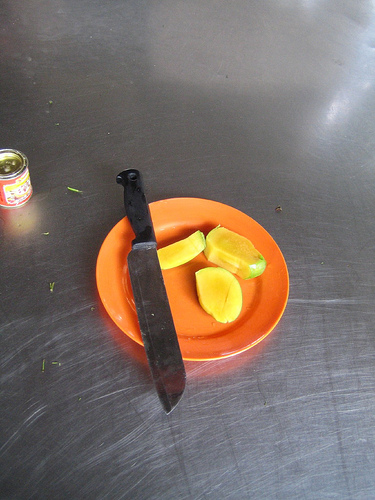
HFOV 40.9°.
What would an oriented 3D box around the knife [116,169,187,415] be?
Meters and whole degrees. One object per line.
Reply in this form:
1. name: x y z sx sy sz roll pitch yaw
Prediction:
1. knife: -0.085 0.056 1.041 0.094 0.029 0.561 -10 54 -10
